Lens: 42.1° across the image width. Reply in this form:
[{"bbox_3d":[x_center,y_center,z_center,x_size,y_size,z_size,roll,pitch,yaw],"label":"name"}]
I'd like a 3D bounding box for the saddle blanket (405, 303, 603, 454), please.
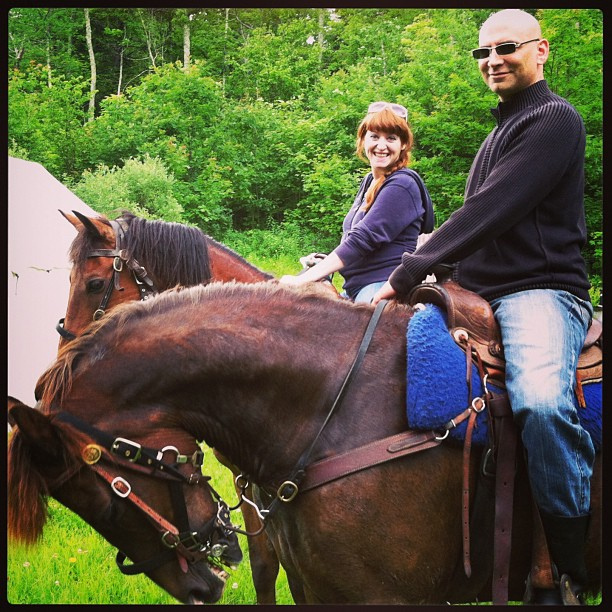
[{"bbox_3d":[0.606,0.251,3.064,0.732,0.514,0.844,8,12,1],"label":"saddle blanket"}]
